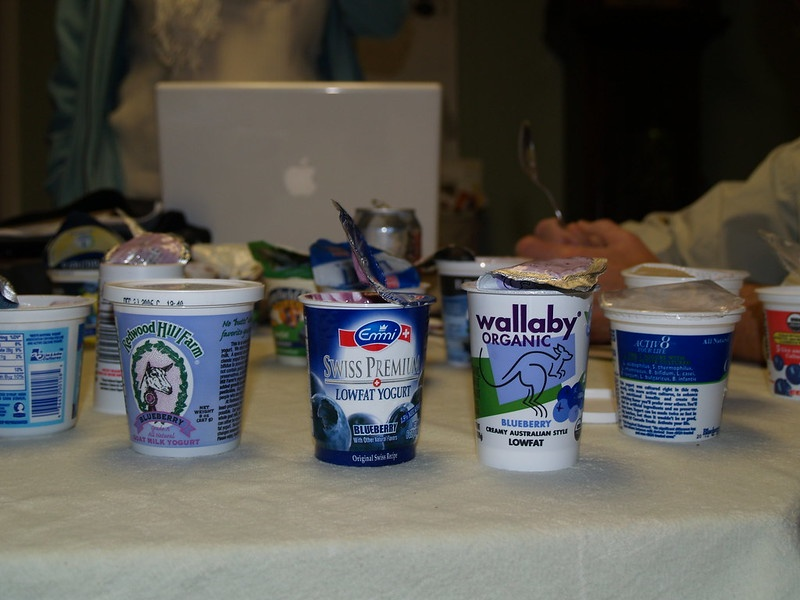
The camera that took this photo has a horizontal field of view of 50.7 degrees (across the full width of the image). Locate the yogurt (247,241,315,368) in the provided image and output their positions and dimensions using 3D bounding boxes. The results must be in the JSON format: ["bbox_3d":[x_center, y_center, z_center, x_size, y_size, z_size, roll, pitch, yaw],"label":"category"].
[{"bbox_3d":[-0.208,0.018,1.713,0.141,0.193,0.134,-3,2,25],"label":"yogurt"}]

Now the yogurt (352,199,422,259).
[{"bbox_3d":[-0.004,-0.156,1.933,0.117,0.158,0.108,-2,41,-2],"label":"yogurt"}]

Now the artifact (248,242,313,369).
[{"bbox_3d":[-0.260,0.027,1.702,0.152,0.192,0.134,-9,-13,-19],"label":"artifact"}]

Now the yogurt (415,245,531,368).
[{"bbox_3d":[0.115,0.008,1.636,0.218,0.199,0.202,-1,4,-10],"label":"yogurt"}]

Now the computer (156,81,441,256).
[{"bbox_3d":[-0.208,-0.302,1.835,0.551,0.339,0.364,0,22,-5],"label":"computer"}]

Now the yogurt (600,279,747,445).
[{"bbox_3d":[0.393,0.088,1.220,0.228,0.201,0.206,1,1,17],"label":"yogurt"}]
